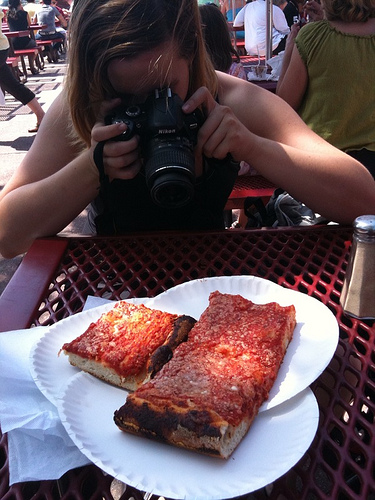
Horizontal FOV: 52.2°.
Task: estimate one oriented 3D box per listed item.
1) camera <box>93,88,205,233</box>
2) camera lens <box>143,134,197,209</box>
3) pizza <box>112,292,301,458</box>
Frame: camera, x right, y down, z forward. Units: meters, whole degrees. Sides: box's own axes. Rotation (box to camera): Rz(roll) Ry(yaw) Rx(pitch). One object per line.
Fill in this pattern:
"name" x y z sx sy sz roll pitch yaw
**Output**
"camera" -0.095 -0.223 0.942 0.264 0.134 0.400 -1 55 -2
"camera lens" -0.040 -0.184 0.902 0.068 0.156 0.170 3 42 -8
"pizza" 0.046 0.141 0.531 0.157 0.097 0.308 15 42 24
